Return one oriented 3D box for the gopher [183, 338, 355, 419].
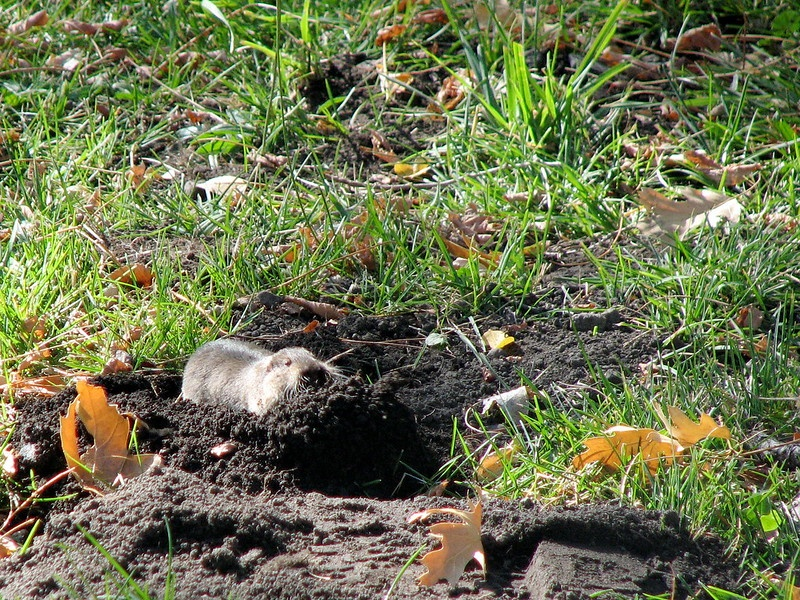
[{"bbox_3d":[-0.884,0.483,5.920,0.857,0.469,0.457,2,23,39],"label":"gopher"}]
